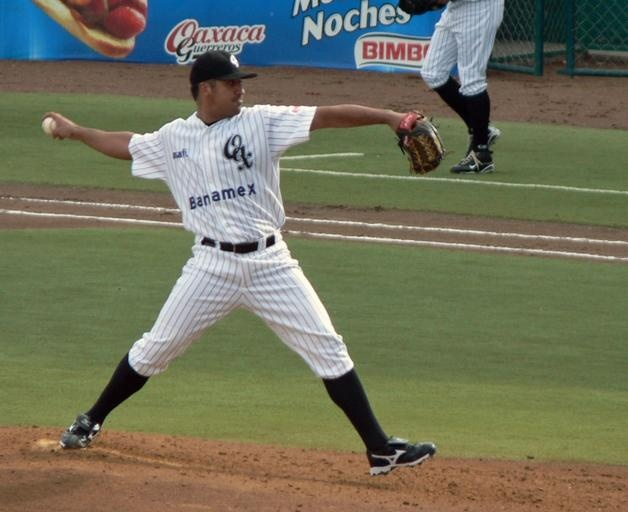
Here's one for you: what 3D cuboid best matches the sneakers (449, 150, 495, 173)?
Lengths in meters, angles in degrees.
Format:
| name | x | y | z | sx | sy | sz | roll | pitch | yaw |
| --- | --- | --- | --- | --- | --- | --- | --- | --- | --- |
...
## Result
| name | x | y | z | sx | sy | sz | roll | pitch | yaw |
| --- | --- | --- | --- | --- | --- | --- | --- | --- | --- |
| sneakers | 1.672 | -1.013 | 15.465 | 0.512 | 0.243 | 0.201 | -1 | 20 | -2 |

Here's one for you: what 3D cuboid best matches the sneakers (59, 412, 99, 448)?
| name | x | y | z | sx | sy | sz | roll | pitch | yaw |
| --- | --- | --- | --- | --- | --- | --- | --- | --- | --- |
| sneakers | -1.698 | 1.288 | 10.402 | 0.175 | 0.306 | 0.136 | 43 | 17 | -3 |

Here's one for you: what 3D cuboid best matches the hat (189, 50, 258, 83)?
| name | x | y | z | sx | sy | sz | roll | pitch | yaw |
| --- | --- | --- | --- | --- | --- | --- | --- | --- | --- |
| hat | -0.660 | -1.369 | 10.197 | 0.379 | 0.178 | 0.240 | -12 | 8 | 12 |

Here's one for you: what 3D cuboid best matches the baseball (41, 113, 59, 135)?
| name | x | y | z | sx | sy | sz | roll | pitch | yaw |
| --- | --- | --- | --- | --- | --- | --- | --- | --- | --- |
| baseball | -1.989 | -0.972 | 10.634 | 0.131 | 0.150 | 0.129 | 5 | 12 | 6 |

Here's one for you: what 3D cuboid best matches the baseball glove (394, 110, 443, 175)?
| name | x | y | z | sx | sy | sz | roll | pitch | yaw |
| --- | --- | --- | --- | --- | --- | --- | --- | --- | --- |
| baseball glove | 0.787 | -0.763 | 10.340 | 0.195 | 0.318 | 0.439 | 9 | -9 | -27 |
